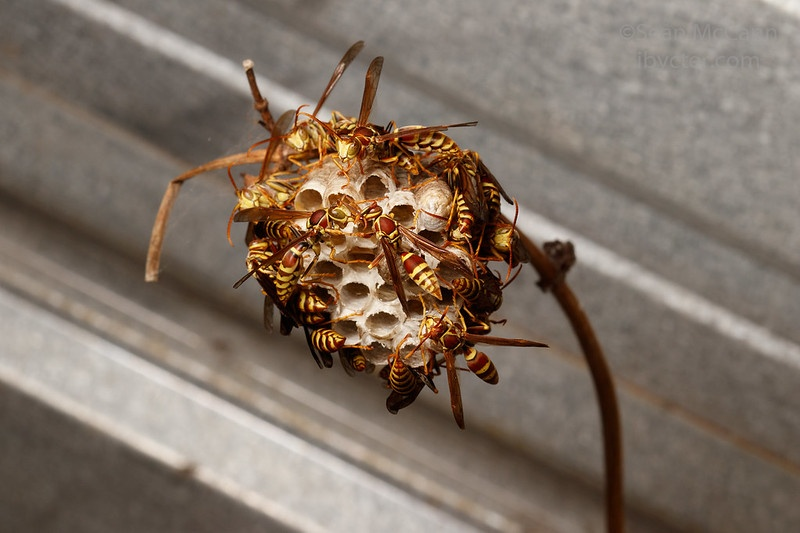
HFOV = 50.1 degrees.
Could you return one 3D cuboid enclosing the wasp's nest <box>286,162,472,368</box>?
[{"bbox_3d":[-0.039,-0.023,2.385,0.430,0.178,0.616,-14,82,-4],"label":"wasp's nest"}]
